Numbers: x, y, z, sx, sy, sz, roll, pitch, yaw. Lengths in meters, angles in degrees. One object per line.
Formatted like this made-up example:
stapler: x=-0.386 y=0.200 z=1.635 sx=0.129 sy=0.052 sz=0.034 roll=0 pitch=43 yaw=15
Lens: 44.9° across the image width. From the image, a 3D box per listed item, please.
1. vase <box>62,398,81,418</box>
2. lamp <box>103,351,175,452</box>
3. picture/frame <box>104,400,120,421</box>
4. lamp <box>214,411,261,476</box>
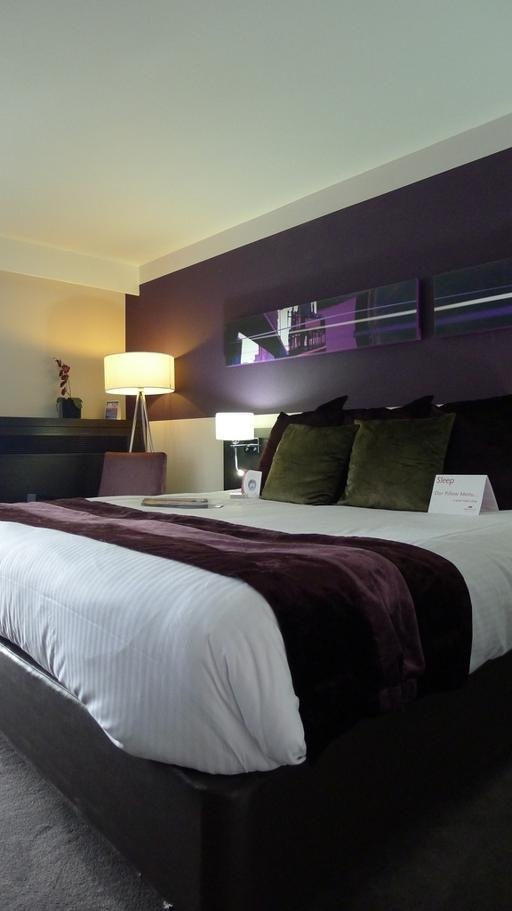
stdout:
vase: x=-1.465 y=-0.356 z=4.937 sx=0.144 sy=0.195 sz=0.160 roll=-1 pitch=-1 yaw=17
lamp: x=-0.890 y=-0.397 z=4.857 sx=0.519 sy=0.708 sz=0.742 roll=-2 pitch=0 yaw=-7
picture/frame: x=-1.246 y=-0.377 z=5.319 sx=0.145 sy=0.116 sz=0.212 roll=-1 pitch=43 yaw=-1
lamp: x=-0.132 y=-0.048 z=3.919 sx=0.244 sy=0.432 sz=0.249 roll=2 pitch=-4 yaw=-29
